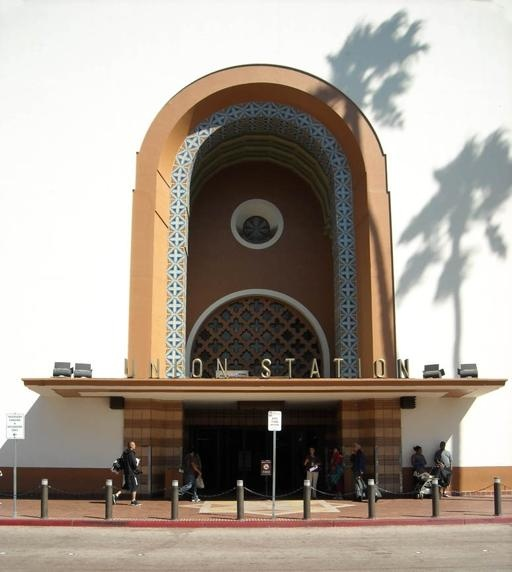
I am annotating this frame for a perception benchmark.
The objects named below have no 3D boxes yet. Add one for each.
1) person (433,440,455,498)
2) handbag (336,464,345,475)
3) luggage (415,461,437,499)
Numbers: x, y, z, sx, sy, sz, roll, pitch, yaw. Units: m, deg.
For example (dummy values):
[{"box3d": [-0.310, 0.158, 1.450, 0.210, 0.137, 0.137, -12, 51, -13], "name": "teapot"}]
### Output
[{"box3d": [5.645, 5.486, 31.710, 0.546, 1.678, 0.830, -3, -14, 10], "name": "person"}, {"box3d": [2.550, 5.470, 31.398, 0.268, 0.317, 0.087, 11, -18, -39], "name": "handbag"}, {"box3d": [5.098, 5.890, 31.384, 0.611, 0.911, 0.787, -2, -14, 9], "name": "luggage"}]
